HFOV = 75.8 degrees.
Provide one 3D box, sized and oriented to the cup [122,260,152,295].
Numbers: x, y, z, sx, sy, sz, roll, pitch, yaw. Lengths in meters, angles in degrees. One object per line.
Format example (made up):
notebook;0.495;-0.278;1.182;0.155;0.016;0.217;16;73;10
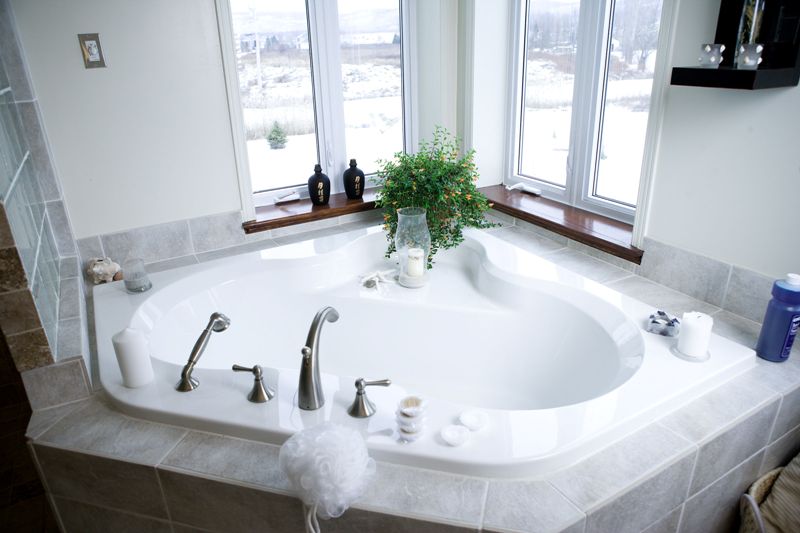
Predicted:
cup;-1.451;0.054;2.862;0.160;0.116;0.309;-7;17;-29

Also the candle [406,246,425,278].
candle;0.092;-0.029;2.953;0.146;0.167;0.144;-2;17;-4

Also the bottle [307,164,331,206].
bottle;-0.549;-0.560;3.522;0.141;0.265;0.162;-8;23;-10

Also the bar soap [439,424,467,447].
bar soap;0.197;0.611;1.874;0.090;0.031;0.079;0;22;9

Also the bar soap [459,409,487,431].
bar soap;0.274;0.573;1.929;0.101;0.027;0.083;-1;22;7

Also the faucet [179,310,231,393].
faucet;-0.900;0.396;2.376;0.096;0.100;0.328;6;53;29

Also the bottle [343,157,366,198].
bottle;-0.324;-0.621;3.627;0.135;0.274;0.126;-3;23;1
